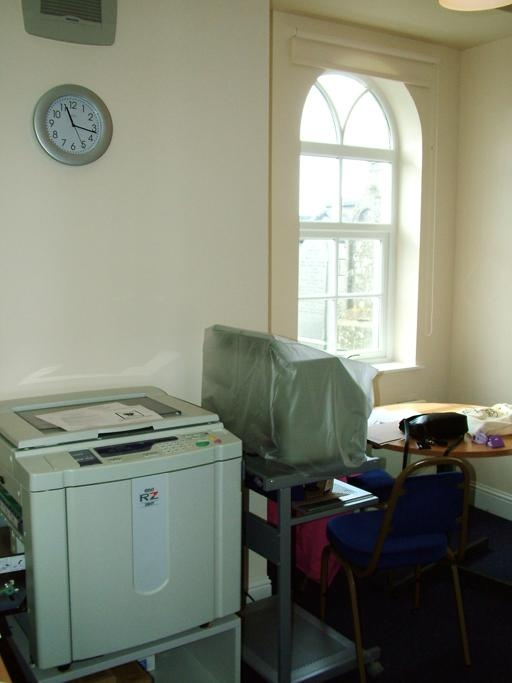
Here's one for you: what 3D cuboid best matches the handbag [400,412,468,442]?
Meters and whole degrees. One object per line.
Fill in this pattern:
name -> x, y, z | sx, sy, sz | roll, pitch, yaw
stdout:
handbag -> 0.753, 0.354, 2.464 | 0.192, 0.073, 0.142 | -2, 1, -25

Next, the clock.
clock -> -0.538, -0.641, 1.751 | 0.231, 0.220, 0.022 | 6, 16, 2
